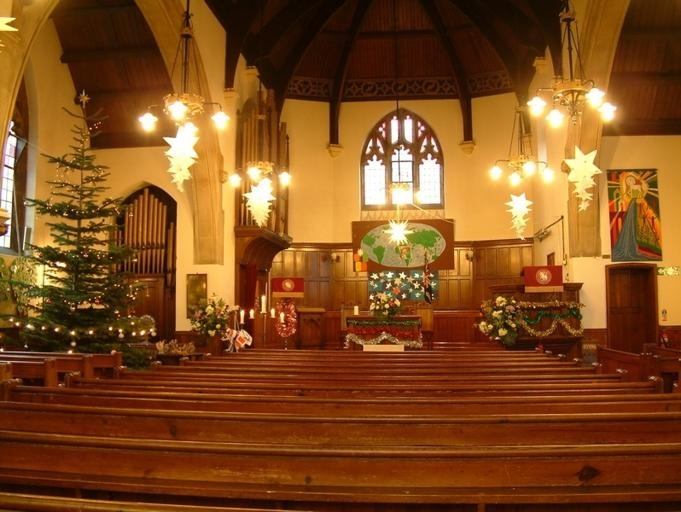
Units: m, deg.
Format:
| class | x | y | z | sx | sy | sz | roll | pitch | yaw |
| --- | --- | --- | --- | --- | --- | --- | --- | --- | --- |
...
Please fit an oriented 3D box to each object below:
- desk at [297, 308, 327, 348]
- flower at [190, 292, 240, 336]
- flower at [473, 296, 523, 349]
| class | x | y | z | sx | sy | sz | roll | pitch | yaw |
| --- | --- | --- | --- | --- | --- | --- | --- | --- | --- |
| desk | -0.818 | 2.012 | 17.663 | 0.867 | 1.386 | 0.926 | -1 | -4 | 5 |
| flower | -2.567 | 1.193 | 12.914 | 0.781 | 0.782 | 0.827 | -4 | -11 | 22 |
| flower | 3.355 | 1.397 | 13.824 | 0.993 | 1.285 | 0.887 | -5 | -14 | 33 |
